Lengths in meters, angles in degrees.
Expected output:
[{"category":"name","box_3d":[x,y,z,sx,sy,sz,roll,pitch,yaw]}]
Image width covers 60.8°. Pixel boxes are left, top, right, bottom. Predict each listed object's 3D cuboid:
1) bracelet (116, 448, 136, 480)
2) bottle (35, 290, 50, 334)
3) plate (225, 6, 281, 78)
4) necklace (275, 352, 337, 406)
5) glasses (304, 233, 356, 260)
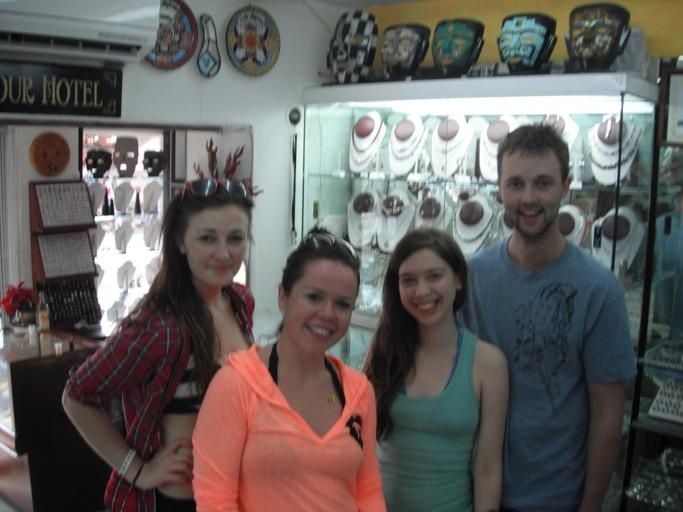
[{"category":"bracelet","box_3d":[-0.754,0.735,2.071,0.021,0.080,0.082,22,-43,-11]},{"category":"bottle","box_3d":[-1.765,0.321,3.462,0.072,0.229,0.144,-2,5,-29]},{"category":"plate","box_3d":[-0.631,-1.536,4.164,0.345,0.472,0.087,-4,11,-31]},{"category":"necklace","box_3d":[-0.126,0.407,1.916,0.152,0.176,0.041,5,-2,1]},{"category":"glasses","box_3d":[-0.046,-0.035,2.086,0.141,0.088,0.187,7,-3,-1]}]
